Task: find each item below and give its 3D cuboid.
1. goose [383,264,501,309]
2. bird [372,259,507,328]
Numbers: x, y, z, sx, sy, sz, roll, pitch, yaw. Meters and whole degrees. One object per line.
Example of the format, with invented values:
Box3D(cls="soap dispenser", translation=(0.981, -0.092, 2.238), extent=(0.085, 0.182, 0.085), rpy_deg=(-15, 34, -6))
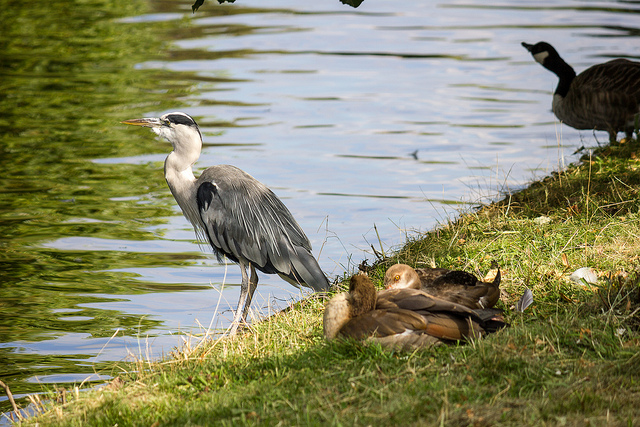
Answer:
Box3D(cls="goose", translation=(1.829, 1.158, 11.758), extent=(2.333, 0.692, 0.746), rpy_deg=(2, 14, -27))
Box3D(cls="bird", translation=(1.866, 1.145, 11.550), extent=(1.940, 0.606, 0.645), rpy_deg=(0, -8, -20))
